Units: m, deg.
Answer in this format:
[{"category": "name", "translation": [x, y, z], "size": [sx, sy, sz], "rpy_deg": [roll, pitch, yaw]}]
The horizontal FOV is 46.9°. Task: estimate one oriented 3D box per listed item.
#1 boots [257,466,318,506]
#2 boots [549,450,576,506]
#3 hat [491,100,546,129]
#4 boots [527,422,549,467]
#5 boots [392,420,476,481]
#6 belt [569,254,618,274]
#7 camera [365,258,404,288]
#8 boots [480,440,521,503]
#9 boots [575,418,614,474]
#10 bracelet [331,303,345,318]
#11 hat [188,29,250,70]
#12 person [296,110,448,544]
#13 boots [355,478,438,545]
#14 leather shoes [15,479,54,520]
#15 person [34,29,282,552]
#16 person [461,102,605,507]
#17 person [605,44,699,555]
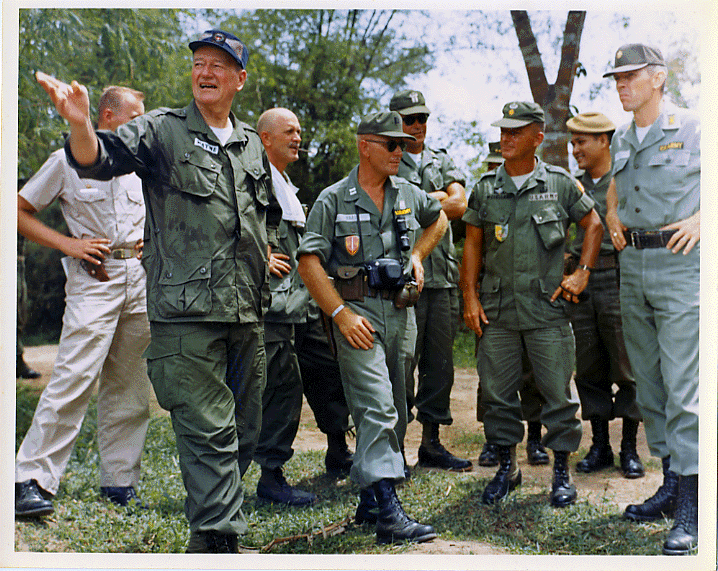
[{"category": "boots", "translation": [-0.496, 1.518, 6.199], "size": [0.537, 0.372, 0.195], "rpy_deg": [1, -1, -6]}, {"category": "boots", "translation": [1.488, 1.417, 6.063], "size": [0.154, 0.343, 0.371], "rpy_deg": [-8, 16, 18]}, {"category": "hat", "translation": [1.200, -1.283, 6.206], "size": [0.311, 0.128, 0.218], "rpy_deg": [-5, 13, -26]}, {"category": "boots", "translation": [1.515, 1.338, 7.084], "size": [0.165, 0.385, 0.395], "rpy_deg": [-5, 7, -1]}, {"category": "boots", "translation": [0.655, 1.383, 6.934], "size": [0.766, 0.540, 0.277], "rpy_deg": [-1, 1, 12]}, {"category": "belt", "translation": [1.989, -0.148, 6.909], "size": [0.238, 0.185, 0.244], "rpy_deg": [-1, -3, 44]}, {"category": "camera", "translation": [0.161, -0.076, 5.555], "size": [0.249, 0.222, 0.191], "rpy_deg": [0, -5, -8]}, {"category": "boots", "translation": [1.056, 1.397, 6.190], "size": [0.229, 0.378, 0.508], "rpy_deg": [-1, 3, 20]}, {"category": "boots", "translation": [1.945, 1.328, 6.831], "size": [0.455, 0.429, 0.195], "rpy_deg": [-9, 8, -39]}, {"category": "bracelet", "translation": [-0.146, 0.170, 5.493], "size": [0.091, 0.027, 0.068], "rpy_deg": [-34, -1, 4]}, {"category": "hat", "translation": [-0.956, -1.538, 5.365], "size": [0.402, 0.182, 0.551], "rpy_deg": [0, 4, -17]}, {"category": "person", "translation": [0.172, 0.236, 5.688], "size": [0.775, 2.862, 0.941], "rpy_deg": [0, 3, 40]}, {"category": "boots", "translation": [0.220, 1.492, 5.407], "size": [0.688, 0.488, 0.254], "rpy_deg": [-1, -1, 12]}, {"category": "leather shoes", "translation": [-2.243, 1.440, 5.595], "size": [0.478, 0.217, 0.179], "rpy_deg": [-9, -12, 36]}, {"category": "person", "translation": [-1.071, 0.034, 5.157], "size": [1.247, 3.300, 0.651], "rpy_deg": [-3, 3, -24]}, {"category": "person", "translation": [1.262, 0.097, 6.242], "size": [1.045, 2.983, 0.720], "rpy_deg": [-1, 3, 14]}, {"category": "person", "translation": [2.108, 0.001, 5.699], "size": [0.539, 3.435, 0.893], "rpy_deg": [-2, 2, 0]}]
